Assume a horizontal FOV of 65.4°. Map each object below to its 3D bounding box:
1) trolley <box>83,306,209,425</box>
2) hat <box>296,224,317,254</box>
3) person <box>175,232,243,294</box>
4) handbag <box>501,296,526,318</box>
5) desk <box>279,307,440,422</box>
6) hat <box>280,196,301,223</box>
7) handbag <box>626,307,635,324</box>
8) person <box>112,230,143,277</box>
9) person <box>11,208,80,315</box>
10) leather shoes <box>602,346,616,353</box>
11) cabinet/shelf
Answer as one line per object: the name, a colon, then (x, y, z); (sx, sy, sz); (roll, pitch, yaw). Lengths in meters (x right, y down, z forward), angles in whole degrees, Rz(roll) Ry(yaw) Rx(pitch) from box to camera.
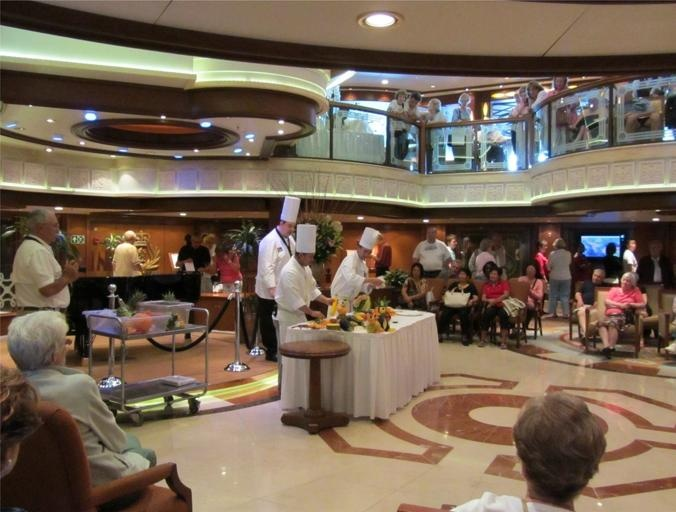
trolley: (-2.054, 1.179, 5.669); (0.705, 1.109, 1.170); (2, 0, 35)
hat: (-0.349, -0.184, 5.769); (0.205, 0.331, 0.332); (0, 4, -8)
person: (-2.484, 0.128, 10.135); (1.133, 1.065, 2.380); (-1, 4, -16)
handbag: (3.007, 0.864, 9.011); (0.369, 0.144, 0.295); (-19, 34, -29)
desk: (0.474, 1.172, 5.916); (0.891, 0.618, 1.614); (-2, -4, 23)
hat: (-0.624, -0.602, 6.808); (0.214, 0.361, 0.498); (0, 4, -7)
handbag: (4.465, 0.920, 8.060); (0.170, 0.253, 0.094); (-1, 5, -26)
person: (-4.074, -0.042, 10.224); (0.484, 0.862, 0.949); (-1, 4, -23)
person: (-2.940, 0.044, 5.306); (0.540, 1.050, 0.483); (-2, 5, -32)
leather shoes: (4.127, 1.419, 8.056); (0.168, 0.107, 0.098); (1, 4, -2)
cabinet/shelf: (-2.036, 1.198, 5.680); (0.681, 1.074, 1.140); (-1, -3, 31)
